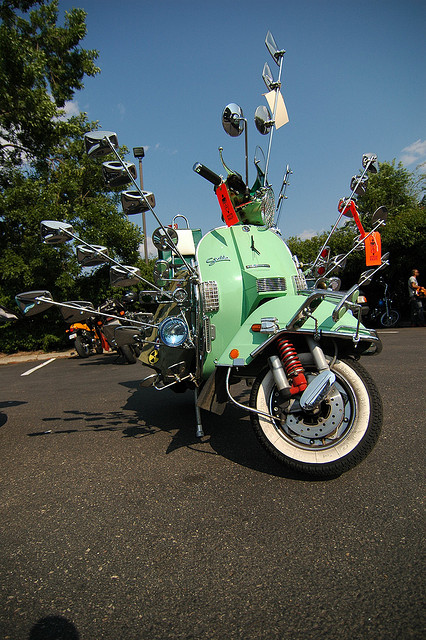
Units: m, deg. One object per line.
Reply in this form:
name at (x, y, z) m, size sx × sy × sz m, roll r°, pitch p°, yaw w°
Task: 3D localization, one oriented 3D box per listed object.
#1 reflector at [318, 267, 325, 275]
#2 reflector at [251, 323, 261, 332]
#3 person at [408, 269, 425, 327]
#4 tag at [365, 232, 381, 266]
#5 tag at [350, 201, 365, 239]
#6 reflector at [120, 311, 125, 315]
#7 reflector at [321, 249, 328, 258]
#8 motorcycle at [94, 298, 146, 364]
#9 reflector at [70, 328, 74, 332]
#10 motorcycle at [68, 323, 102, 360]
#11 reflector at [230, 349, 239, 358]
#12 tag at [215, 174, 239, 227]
reflector at (0.980, -0.451, 3.761) m, size 0.006 × 0.062 × 0.077 m, roll -6°, pitch 3°, yaw -32°
reflector at (0.288, 0.045, 2.756) m, size 0.028 × 0.058 × 0.080 m, roll -6°, pitch 3°, yaw -39°
person at (6.824, -0.778, 13.952) m, size 0.466 × 1.907 × 1.298 m, roll -3°, pitch 3°, yaw 25°
tag at (1.226, -0.561, 3.190) m, size 0.107 × 0.277 × 0.413 m, roll -3°, pitch 2°, yaw 20°
tag at (1.235, -0.879, 3.563) m, size 0.068 × 0.489 × 0.084 m, roll -4°, pitch -13°, yaw 2°
reflector at (-2.366, -0.206, 10.908) m, size 0.086 × 0.086 × 0.020 m, roll 3°, pitch -22°, yaw 29°
reflector at (1.001, -0.606, 3.722) m, size 0.055 × 0.029 × 0.105 m, roll 14°, pitch -8°, yaw 9°
motorcycle at (-1.361, 0.125, 5.476) m, size 0.580 × 0.737 × 1.186 m, roll -2°, pitch 12°, yaw -40°
reflector at (-3.827, 0.258, 11.333) m, size 0.064 × 0.059 × 0.095 m, roll -3°, pitch -10°, yaw -11°
motorcycle at (-3.505, 0.558, 11.606) m, size 0.581 × 0.709 × 1.058 m, roll -17°, pitch 13°, yaw 11°
reflector at (0.147, 0.218, 2.782) m, size 0.065 × 0.052 × 0.026 m, roll -2°, pitch 3°, yaw 45°
tag at (0.123, -1.056, 3.718) m, size 0.144 × 0.480 × 0.275 m, roll -5°, pitch 3°, yaw -13°
